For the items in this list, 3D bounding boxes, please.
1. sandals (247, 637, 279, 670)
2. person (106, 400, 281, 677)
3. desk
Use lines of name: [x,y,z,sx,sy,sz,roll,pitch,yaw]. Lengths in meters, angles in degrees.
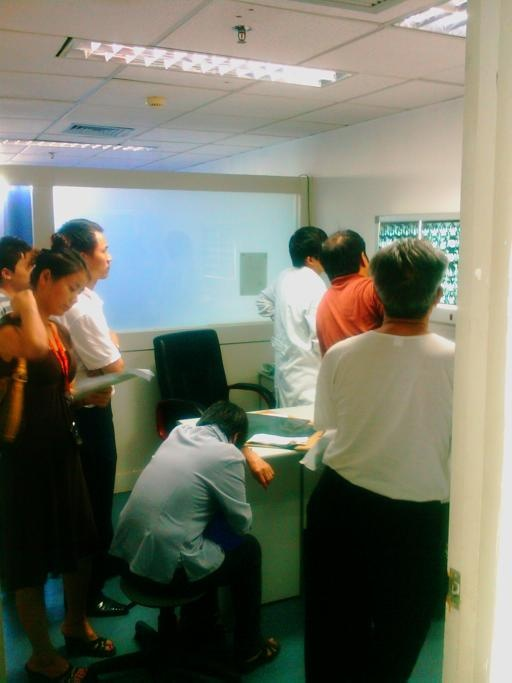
sandals: [0.034,1.148,2.042,0.051,0.056,0.140,5,10,41]
person: [-0.181,0.723,1.929,0.564,0.964,0.268,-9,9,-38]
desk: [-0.150,0.715,2.553,0.676,0.881,0.925,0,2,-13]
